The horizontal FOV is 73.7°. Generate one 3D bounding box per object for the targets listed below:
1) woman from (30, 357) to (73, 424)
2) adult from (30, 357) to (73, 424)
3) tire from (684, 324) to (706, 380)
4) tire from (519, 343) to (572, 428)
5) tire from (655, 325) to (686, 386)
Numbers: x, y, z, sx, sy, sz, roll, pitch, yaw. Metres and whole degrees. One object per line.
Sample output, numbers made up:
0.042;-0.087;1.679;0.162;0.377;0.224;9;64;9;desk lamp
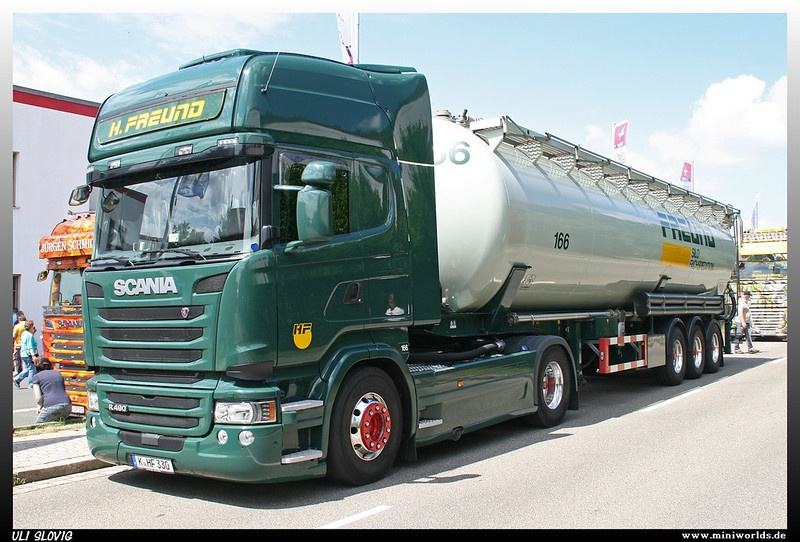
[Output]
-6.290;2.129;9.593;0.570;1.047;0.774;2;-3;-38;woman
-6.290;2.129;9.593;0.570;1.047;0.774;2;-3;-38;adult
8.194;2.235;14.857;0.531;1.495;1.544;-1;3;40;tire
2.432;1.927;9.049;1.294;1.382;0.448;-13;15;-42;tire
6.846;2.136;13.566;0.445;1.512;1.419;-4;-12;36;tire
